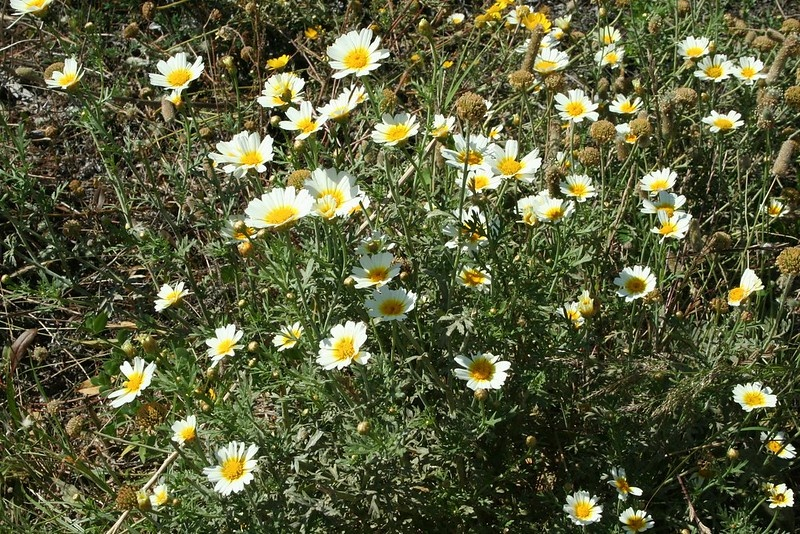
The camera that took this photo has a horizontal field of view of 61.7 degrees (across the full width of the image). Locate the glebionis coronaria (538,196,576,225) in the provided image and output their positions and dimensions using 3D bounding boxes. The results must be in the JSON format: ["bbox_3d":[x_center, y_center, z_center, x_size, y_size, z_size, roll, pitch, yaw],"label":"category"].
[{"bbox_3d":[0.801,-0.290,3.436,0.141,0.067,0.158,17,62,32],"label":"glebionis coronaria"}]

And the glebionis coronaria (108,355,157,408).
[{"bbox_3d":[-1.245,0.544,3.142,0.224,0.078,0.231,16,59,15],"label":"glebionis coronaria"}]

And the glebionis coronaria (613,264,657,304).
[{"bbox_3d":[1.217,0.094,3.431,0.227,0.054,0.218,-39,40,-24],"label":"glebionis coronaria"}]

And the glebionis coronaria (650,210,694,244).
[{"bbox_3d":[1.417,-0.185,3.453,0.180,0.050,0.183,-35,41,-3],"label":"glebionis coronaria"}]

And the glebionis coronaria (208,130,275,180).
[{"bbox_3d":[-0.709,-0.515,3.186,0.280,0.298,0.117,-1,72,-18],"label":"glebionis coronaria"}]

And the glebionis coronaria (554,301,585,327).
[{"bbox_3d":[0.897,0.235,3.480,0.120,0.057,0.128,1,68,40],"label":"glebionis coronaria"}]

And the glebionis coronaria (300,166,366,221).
[{"bbox_3d":[-0.300,-0.323,3.040,0.278,0.279,0.098,7,62,-13],"label":"glebionis coronaria"}]

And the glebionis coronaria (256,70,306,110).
[{"bbox_3d":[-0.599,-0.927,3.481,0.210,0.209,0.077,6,82,-31],"label":"glebionis coronaria"}]

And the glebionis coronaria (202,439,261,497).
[{"bbox_3d":[-0.723,0.886,2.920,0.236,0.085,0.257,17,34,27],"label":"glebionis coronaria"}]

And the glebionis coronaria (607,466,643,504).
[{"bbox_3d":[1.081,1.048,3.233,0.162,0.044,0.174,10,102,31],"label":"glebionis coronaria"}]

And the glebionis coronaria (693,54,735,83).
[{"bbox_3d":[1.918,-1.201,4.054,0.203,0.073,0.202,-44,54,4],"label":"glebionis coronaria"}]

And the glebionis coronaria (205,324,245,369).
[{"bbox_3d":[-0.868,0.359,3.358,0.223,0.083,0.229,-28,50,14],"label":"glebionis coronaria"}]

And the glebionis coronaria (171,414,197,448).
[{"bbox_3d":[-0.981,0.748,3.060,0.134,0.062,0.132,-49,44,-1],"label":"glebionis coronaria"}]

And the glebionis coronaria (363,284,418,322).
[{"bbox_3d":[-0.044,0.168,3.103,0.245,0.251,0.090,-13,72,-10],"label":"glebionis coronaria"}]

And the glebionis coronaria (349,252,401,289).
[{"bbox_3d":[-0.094,0.016,3.127,0.240,0.243,0.102,-6,78,37],"label":"glebionis coronaria"}]

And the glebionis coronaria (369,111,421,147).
[{"bbox_3d":[-0.026,-0.659,3.209,0.214,0.090,0.226,-10,9,-35],"label":"glebionis coronaria"}]

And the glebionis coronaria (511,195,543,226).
[{"bbox_3d":[0.659,-0.277,3.415,0.151,0.071,0.159,-23,52,29],"label":"glebionis coronaria"}]

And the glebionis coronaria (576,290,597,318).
[{"bbox_3d":[0.928,0.183,3.301,0.053,0.132,0.137,10,60,-19],"label":"glebionis coronaria"}]

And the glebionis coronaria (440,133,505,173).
[{"bbox_3d":[0.342,-0.559,3.246,0.229,0.230,0.066,-2,93,-27],"label":"glebionis coronaria"}]

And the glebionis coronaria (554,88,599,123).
[{"bbox_3d":[1.019,-0.914,3.820,0.176,0.222,0.055,6,81,22],"label":"glebionis coronaria"}]

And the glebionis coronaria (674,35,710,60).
[{"bbox_3d":[1.809,-1.353,4.116,0.167,0.068,0.172,-29,52,14],"label":"glebionis coronaria"}]

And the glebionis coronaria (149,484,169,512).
[{"bbox_3d":[-1.123,1.078,3.119,0.077,0.035,0.085,-33,43,34],"label":"glebionis coronaria"}]

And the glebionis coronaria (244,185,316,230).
[{"bbox_3d":[-0.514,-0.241,2.942,0.283,0.287,0.108,-8,71,-33],"label":"glebionis coronaria"}]

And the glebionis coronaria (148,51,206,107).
[{"bbox_3d":[-1.160,-1.000,3.562,0.201,0.105,0.224,0,25,19],"label":"glebionis coronaria"}]
